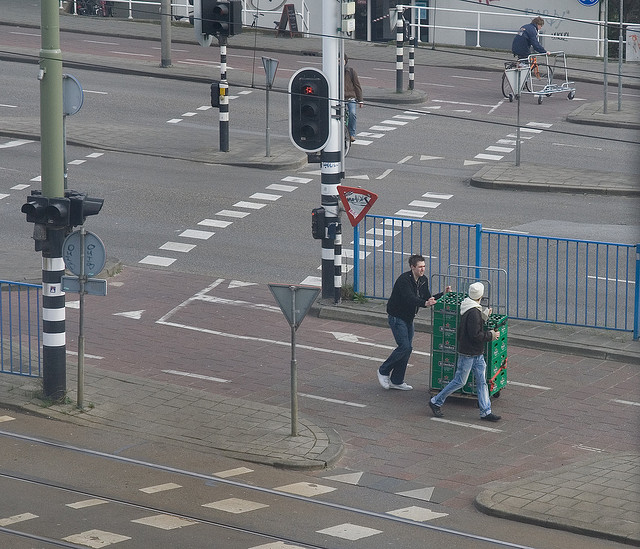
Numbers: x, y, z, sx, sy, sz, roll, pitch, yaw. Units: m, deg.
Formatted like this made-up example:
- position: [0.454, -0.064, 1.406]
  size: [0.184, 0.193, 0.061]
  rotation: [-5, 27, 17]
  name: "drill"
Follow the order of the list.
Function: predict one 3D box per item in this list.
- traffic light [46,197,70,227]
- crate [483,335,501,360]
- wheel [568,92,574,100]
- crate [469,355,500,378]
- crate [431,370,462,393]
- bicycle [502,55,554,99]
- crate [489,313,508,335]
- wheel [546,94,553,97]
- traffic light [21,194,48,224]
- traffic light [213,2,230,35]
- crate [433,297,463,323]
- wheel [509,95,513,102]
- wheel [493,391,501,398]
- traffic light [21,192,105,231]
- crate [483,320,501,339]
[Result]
- position: [-3.522, -0.838, 25.117]
  size: [0.405, 0.375, 0.198]
  rotation: [1, -3, 0]
  name: "traffic light"
- position: [2.353, 1.006, 25.463]
  size: [0.113, 0.278, 0.382]
  rotation: [8, 11, 34]
  name: "crate"
- position: [5.624, -4.015, 42.084]
  size: [0.117, 0.159, 0.216]
  rotation: [3, 9, 5]
  name: "wheel"
- position: [2.334, 1.258, 25.443]
  size: [0.093, 0.276, 0.328]
  rotation: [10, 11, 38]
  name: "crate"
- position: [1.723, 1.474, 25.640]
  size: [0.431, 0.277, 0.098]
  rotation: [8, 11, 35]
  name: "crate"
- position: [4.877, -4.643, 43.268]
  size: [1.756, 0.992, 0.850]
  rotation: [-11, 11, -40]
  name: "bicycle"
- position: [2.424, 0.693, 25.563]
  size: [0.285, 0.266, 0.150]
  rotation: [9, 21, 28]
  name: "crate"
- position: [5.151, -4.050, 42.205]
  size: [0.149, 0.138, 0.057]
  rotation: [0, 15, 5]
  name: "wheel"
- position: [-3.784, -0.882, 25.213]
  size: [0.428, 0.383, 0.350]
  rotation: [1, 4, 15]
  name: "traffic light"
- position: [-1.800, -4.743, 34.620]
  size: [0.361, 0.580, 0.270]
  rotation: [-2, 10, -25]
  name: "traffic light"
- position: [1.749, 0.497, 25.729]
  size: [0.352, 0.204, 0.341]
  rotation: [1, 4, 14]
  name: "crate"
- position: [4.223, -3.903, 41.489]
  size: [0.074, 0.149, 0.158]
  rotation: [3, 9, 5]
  name: "wheel"
- position: [2.424, 1.653, 25.678]
  size: [0.085, 0.026, 0.083]
  rotation: [-16, 18, 5]
  name: "wheel"
- position: [-3.481, -0.876, 25.315]
  size: [1.169, 0.473, 0.988]
  rotation: [2, 11, 10]
  name: "traffic light"
- position: [2.311, 0.752, 25.304]
  size: [0.207, 0.077, 0.200]
  rotation: [10, 37, 16]
  name: "crate"
